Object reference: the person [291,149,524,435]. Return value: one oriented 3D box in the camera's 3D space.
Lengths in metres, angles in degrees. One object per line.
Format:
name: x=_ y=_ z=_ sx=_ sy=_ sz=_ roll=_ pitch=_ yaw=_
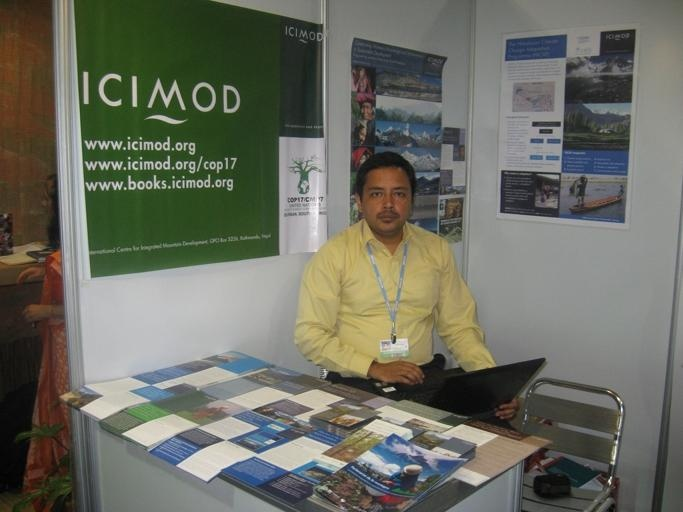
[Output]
person: x=0.353 y=0.177 z=2.251 sx=1.095 sy=1.328 sz=1.027 roll=3 pitch=13 yaw=6
